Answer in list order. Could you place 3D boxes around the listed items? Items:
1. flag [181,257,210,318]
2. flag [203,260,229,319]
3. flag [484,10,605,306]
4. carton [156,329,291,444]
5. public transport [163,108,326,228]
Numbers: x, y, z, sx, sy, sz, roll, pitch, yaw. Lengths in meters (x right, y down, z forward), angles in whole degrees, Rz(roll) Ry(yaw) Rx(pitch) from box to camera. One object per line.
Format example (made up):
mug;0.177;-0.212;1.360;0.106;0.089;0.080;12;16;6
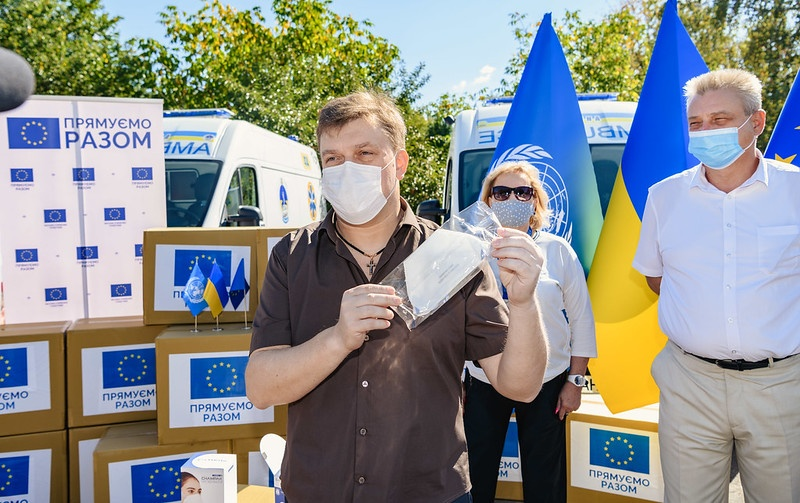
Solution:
flag;-1.923;0.349;6.659;0.212;0.517;0.246;0;0;-16
flag;-1.694;0.325;6.598;0.271;0.617;0.066;5;20;-17
flag;1.634;-1.008;9.094;2.118;4.033;2.006;-2;-3;17
carton;-1.603;1.348;7.082;1.618;0.961;1.626;1;-11;-23
public transport;-2.244;-1.046;10.143;1.220;1.288;2.567;-1;-1;9
